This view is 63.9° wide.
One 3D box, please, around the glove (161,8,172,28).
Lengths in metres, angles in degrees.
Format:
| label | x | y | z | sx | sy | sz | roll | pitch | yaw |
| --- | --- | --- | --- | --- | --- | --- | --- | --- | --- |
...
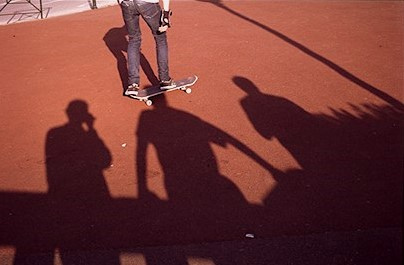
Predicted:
| label | x | y | z | sx | sy | sz | roll | pitch | yaw |
| --- | --- | --- | --- | --- | --- | --- | --- | --- | --- |
| glove | -0.670 | -2.161 | 6.159 | 0.199 | 0.335 | 0.224 | -7 | 24 | 3 |

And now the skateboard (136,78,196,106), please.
| label | x | y | z | sx | sy | sz | roll | pitch | yaw |
| --- | --- | --- | --- | --- | --- | --- | --- | --- | --- |
| skateboard | -0.637 | -0.840 | 6.680 | 1.361 | 0.199 | 0.462 | -18 | 52 | -17 |
